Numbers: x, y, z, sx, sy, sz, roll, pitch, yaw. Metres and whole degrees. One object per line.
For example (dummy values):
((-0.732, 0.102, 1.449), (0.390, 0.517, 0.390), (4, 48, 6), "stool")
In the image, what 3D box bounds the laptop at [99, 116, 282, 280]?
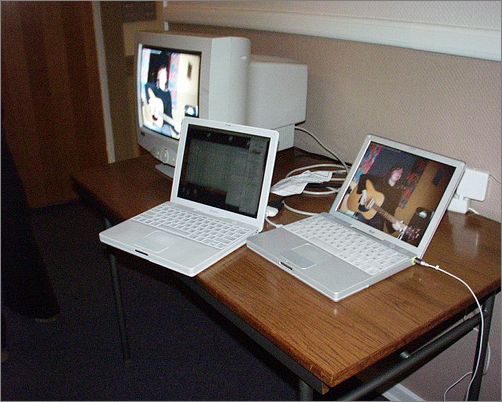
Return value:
((-0.195, -0.064, 1.239), (0.580, 0.415, 0.601), (20, 29, 36), "laptop")

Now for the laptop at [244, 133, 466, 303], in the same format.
((0.258, 0.012, 0.962), (0.461, 0.241, 0.348), (-11, 24, -25), "laptop")

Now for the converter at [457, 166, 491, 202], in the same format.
((0.648, -0.054, 1.132), (0.094, 0.091, 0.023), (27, 20, 34), "converter")
